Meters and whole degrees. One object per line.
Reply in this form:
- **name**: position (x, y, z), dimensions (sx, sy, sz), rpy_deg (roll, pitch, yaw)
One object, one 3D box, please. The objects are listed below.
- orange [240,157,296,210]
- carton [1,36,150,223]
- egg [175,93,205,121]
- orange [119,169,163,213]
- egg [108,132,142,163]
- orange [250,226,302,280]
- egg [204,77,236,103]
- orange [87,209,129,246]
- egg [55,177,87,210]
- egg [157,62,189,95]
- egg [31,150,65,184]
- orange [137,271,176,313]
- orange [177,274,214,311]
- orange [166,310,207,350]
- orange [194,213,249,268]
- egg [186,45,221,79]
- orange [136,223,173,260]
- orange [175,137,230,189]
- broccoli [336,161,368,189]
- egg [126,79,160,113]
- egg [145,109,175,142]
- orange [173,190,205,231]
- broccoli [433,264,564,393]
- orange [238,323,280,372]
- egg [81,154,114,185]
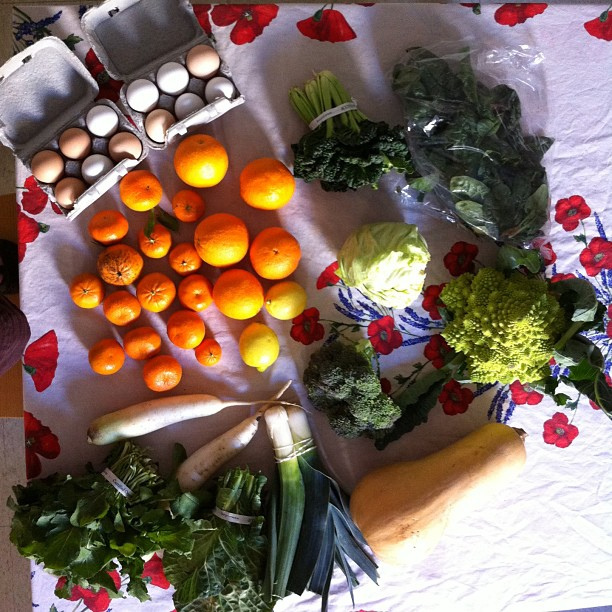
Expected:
- **orange**: position (-0.083, -0.247, 1.219), dimensions (0.137, 0.091, 0.075), rpy_deg (-3, 71, -4)
- **carton**: position (-0.460, -0.364, 1.208), dimensions (0.279, 0.295, 0.300), rpy_deg (-33, 61, -19)
- **egg**: position (-0.237, -0.402, 1.195), dimensions (0.066, 0.035, 0.042), rpy_deg (-33, 41, -4)
- **orange**: position (-0.326, -0.233, 1.239), dimensions (0.109, 0.076, 0.093), rpy_deg (-10, 6, -12)
- **egg**: position (-0.357, -0.316, 1.194), dimensions (0.079, 0.056, 0.076), rpy_deg (-2, 20, -4)
- **orange**: position (-0.062, -0.104, 1.189), dimensions (0.105, 0.083, 0.082), rpy_deg (-43, 42, -13)
- **egg**: position (-0.171, -0.433, 1.189), dimensions (0.068, 0.052, 0.061), rpy_deg (5, 47, -5)
- **orange**: position (-0.396, -0.159, 1.202), dimensions (0.092, 0.064, 0.077), rpy_deg (-1, -5, -2)
- **egg**: position (-0.461, -0.221, 1.181), dimensions (0.075, 0.052, 0.035), rpy_deg (-1, -1, -6)
- **egg**: position (-0.263, -0.454, 1.196), dimensions (0.062, 0.058, 0.035), rpy_deg (-46, 43, -13)
- **egg**: position (-0.509, -0.276, 1.187), dimensions (0.081, 0.057, 0.037), rpy_deg (-5, 1, -8)
- **orange**: position (-0.282, -0.029, 1.243), dimensions (0.098, 0.071, 0.080), rpy_deg (-14, 4, -4)
- **orange**: position (-0.218, -0.027, 1.244), dimensions (0.094, 0.065, 0.077), rpy_deg (-8, 2, -7)
- **orange**: position (-0.242, 0.049, 1.208), dimensions (0.075, 0.036, 0.076), rpy_deg (34, 53, 17)
- **orange**: position (-0.170, -0.134, 1.182), dimensions (0.109, 0.086, 0.101), rpy_deg (-36, 41, -4)
- **egg**: position (-0.205, -0.484, 1.189), dimensions (0.059, 0.060, 0.050), rpy_deg (23, 66, 20)
- **orange**: position (-0.302, -0.127, 1.201), dimensions (0.088, 0.063, 0.071), rpy_deg (-11, 5, -3)
- **orange**: position (-0.202, -0.278, 1.164), dimensions (0.121, 0.085, 0.073), rpy_deg (-3, -4, -8)
- **broccoli**: position (0.091, -0.254, 1.163), dimensions (0.070, 0.040, 0.017), rpy_deg (9, 20, -1)
- **egg**: position (-0.322, -0.417, 1.189), dimensions (0.079, 0.055, 0.025), rpy_deg (-5, 16, -13)
- **egg**: position (-0.287, -0.360, 1.196), dimensions (0.072, 0.051, 0.033), rpy_deg (13, 5, -5)
- **orange**: position (-0.249, -0.202, 1.234), dimensions (0.086, 0.052, 0.074), rpy_deg (-8, -3, -19)
- **broccoli**: position (0.391, 0.044, 1.240), dimensions (0.295, 0.245, 0.153), rpy_deg (-11, 2, 9)
- **orange**: position (-0.092, 0.081, 1.188), dimensions (0.093, 0.084, 0.079), rpy_deg (-2, 0, -4)
- **egg**: position (-0.415, -0.269, 1.183), dimensions (0.076, 0.054, 0.074), rpy_deg (-4, 14, 8)
